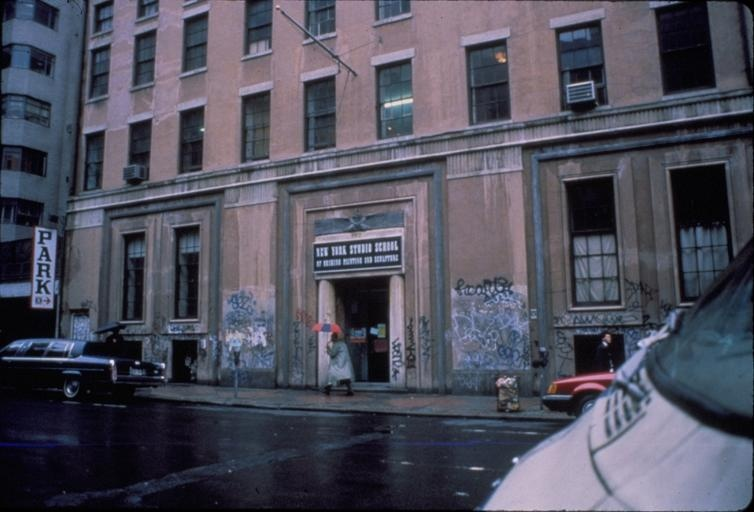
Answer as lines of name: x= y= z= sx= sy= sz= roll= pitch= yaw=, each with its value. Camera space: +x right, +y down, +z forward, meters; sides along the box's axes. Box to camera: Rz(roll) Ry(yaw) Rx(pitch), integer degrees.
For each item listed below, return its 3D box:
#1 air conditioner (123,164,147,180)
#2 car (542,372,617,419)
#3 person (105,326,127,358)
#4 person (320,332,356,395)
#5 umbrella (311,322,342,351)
air conditioner: x=-10.432 y=-3.616 z=34.127 sx=0.926 sy=0.716 sz=0.462 roll=-4 pitch=-9 yaw=14
car: x=5.355 y=3.689 z=21.451 sx=2.871 sy=1.388 sz=1.764 roll=-4 pitch=-14 yaw=12
person: x=-9.096 y=3.042 z=27.613 sx=0.442 sy=0.736 sz=0.778 roll=7 pitch=-13 yaw=-12
person: x=-1.367 y=3.796 z=27.539 sx=0.874 sy=2.200 sz=0.962 roll=3 pitch=-9 yaw=-31
umbrella: x=-1.664 y=2.830 z=27.637 sx=0.883 sy=0.836 sz=0.944 roll=3 pitch=-3 yaw=2
